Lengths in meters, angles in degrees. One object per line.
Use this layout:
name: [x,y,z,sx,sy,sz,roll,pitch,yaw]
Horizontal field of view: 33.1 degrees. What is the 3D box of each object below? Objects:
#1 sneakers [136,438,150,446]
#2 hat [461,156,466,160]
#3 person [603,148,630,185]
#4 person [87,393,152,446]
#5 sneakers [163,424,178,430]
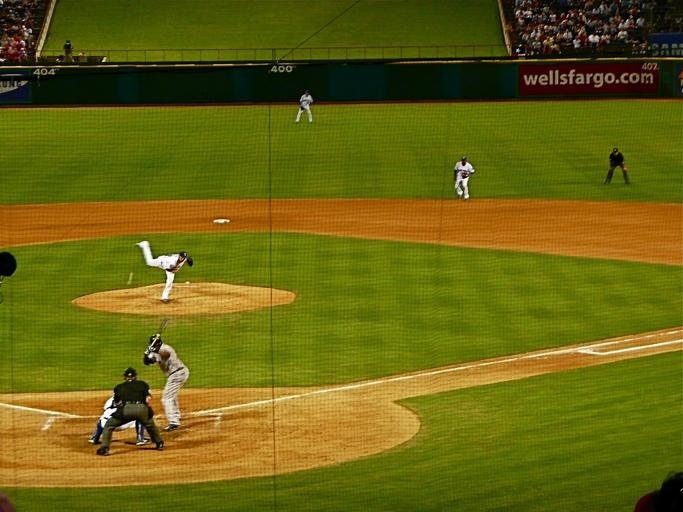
sneakers: [-4.455,4.199,25.861,0.332,0.138,0.115,-5,8,-4]
hat: [4.632,-3.652,43.023,0.243,0.139,0.309,3,9,6]
person: [10.870,-3.506,45.024,0.978,1.432,3.434,0,5,14]
person: [-5.080,3.490,25.631,0.823,1.372,1.559,9,6,42]
sneakers: [-3.894,3.929,26.323,0.315,0.129,0.120,1,9,-7]
